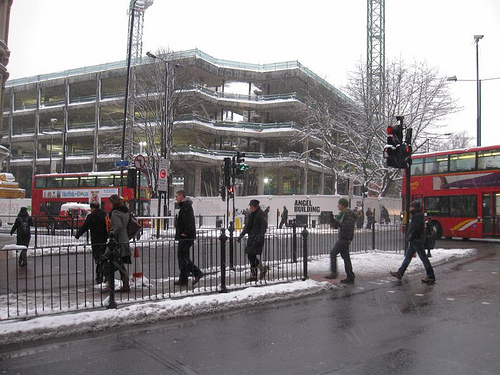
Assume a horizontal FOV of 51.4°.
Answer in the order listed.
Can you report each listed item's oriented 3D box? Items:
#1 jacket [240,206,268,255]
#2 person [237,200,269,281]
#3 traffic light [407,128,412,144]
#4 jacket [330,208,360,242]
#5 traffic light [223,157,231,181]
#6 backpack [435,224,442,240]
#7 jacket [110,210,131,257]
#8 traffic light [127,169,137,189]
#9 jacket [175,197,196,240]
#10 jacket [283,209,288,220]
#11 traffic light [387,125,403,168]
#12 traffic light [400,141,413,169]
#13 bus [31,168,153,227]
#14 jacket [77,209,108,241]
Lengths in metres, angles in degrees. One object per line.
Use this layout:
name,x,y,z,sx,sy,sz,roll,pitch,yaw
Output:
jacket,0.082,1.095,13.167,0.650,1.233,1.114,-2,-5,2
person,0.082,1.325,13.119,0.706,2.054,1.226,-2,-4,2
traffic light,5.313,-1.709,17.348,0.130,0.550,0.399,-3,-5,19
jacket,2.540,0.909,14.027,0.785,0.961,0.729,0,17,17
traffic light,-1.104,-0.923,24.916,0.324,1.136,0.978,-2,-5,-4
backpack,9.665,2.228,26.636,0.242,0.794,0.732,1,-3,4
jacket,-3.035,1.024,12.176,0.457,1.149,0.750,5,4,15
traffic light,-4.574,-0.356,19.965,0.278,0.708,0.504,0,-5,-20
jacket,-1.633,0.769,12.943,0.473,0.992,0.333,-1,-4,-13
jacket,2.500,1.912,36.877,0.441,0.946,0.621,2,-7,2
traffic light,4.754,-1.343,16.995,0.594,1.464,0.620,-2,-4,3
traffic light,5.155,-1.093,17.137,0.297,0.943,0.853,-4,-5,21
bus,-11.407,0.739,37.238,7.869,4.195,2.741,0,8,-7
jacket,-3.841,0.935,12.780,0.762,0.769,0.546,-2,-5,-2
